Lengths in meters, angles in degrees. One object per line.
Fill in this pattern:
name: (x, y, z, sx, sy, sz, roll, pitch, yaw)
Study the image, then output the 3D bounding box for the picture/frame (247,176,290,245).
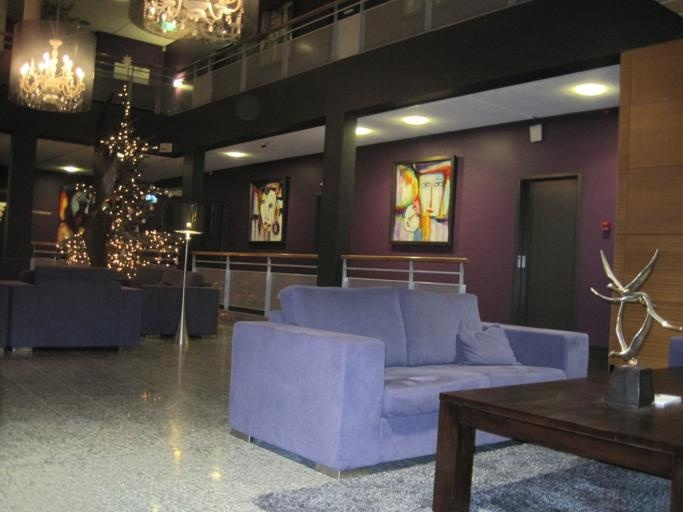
picture/frame: (-1.508, -0.969, 12.026, 0.156, 1.575, 1.411, 4, -2, -40)

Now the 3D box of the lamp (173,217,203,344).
lamp: (-1.970, 0.414, 7.198, 0.348, 1.507, 0.380, 8, -26, -27)

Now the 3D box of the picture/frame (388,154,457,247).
picture/frame: (1.278, -0.882, 9.145, 1.173, 1.293, 0.069, 3, 1, 43)
